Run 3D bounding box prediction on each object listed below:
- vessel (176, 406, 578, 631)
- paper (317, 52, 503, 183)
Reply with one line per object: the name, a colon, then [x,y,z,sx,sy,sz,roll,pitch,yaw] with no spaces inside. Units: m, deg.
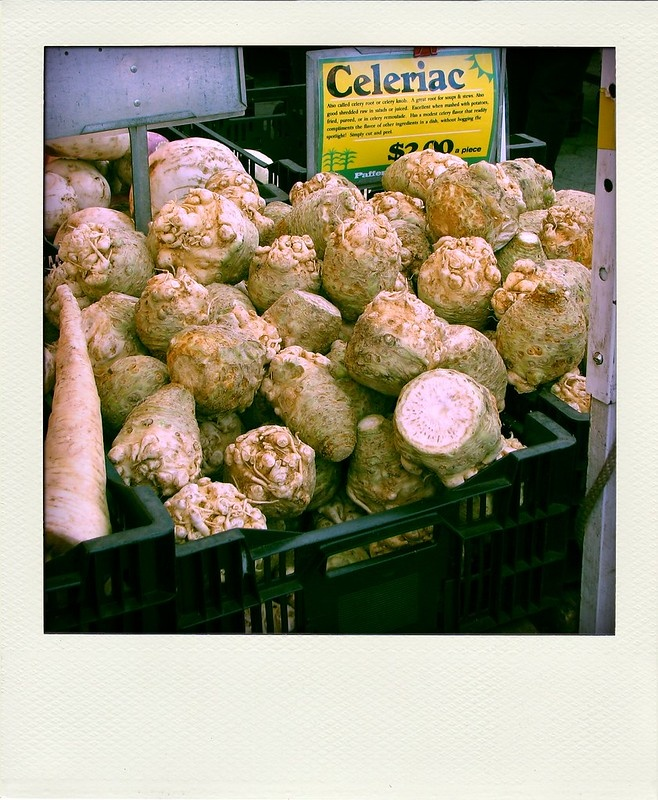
vessel: [0.001,0.307,1.692,0.951,0.416,0.633,-11,18,-23]
paper: [0.264,-1.023,2.545,0.688,0.465,0.098,-5,31,-9]
